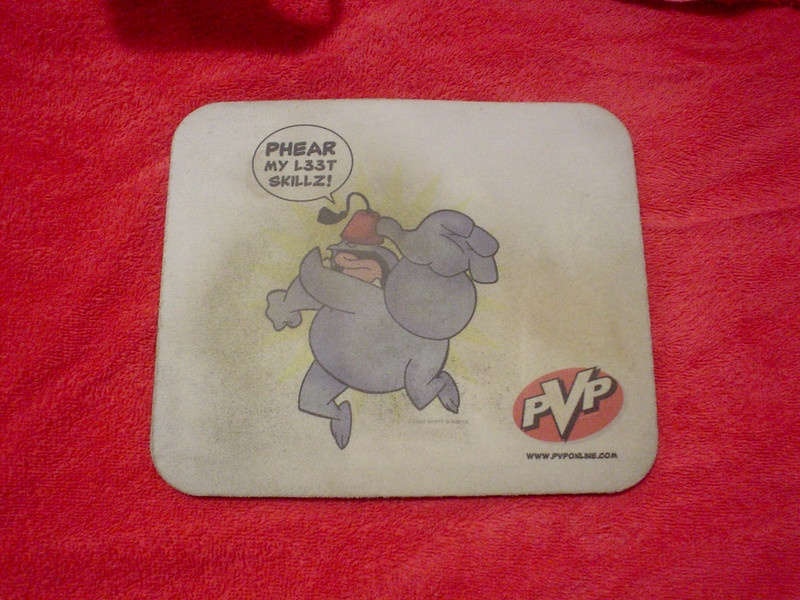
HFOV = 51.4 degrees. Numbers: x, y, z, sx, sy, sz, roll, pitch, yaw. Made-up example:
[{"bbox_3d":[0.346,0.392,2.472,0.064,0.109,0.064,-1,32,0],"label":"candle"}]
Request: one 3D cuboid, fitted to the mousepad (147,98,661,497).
[{"bbox_3d":[0.008,-0.012,1.419,0.840,0.036,0.674,0,84,-1],"label":"mousepad"}]
